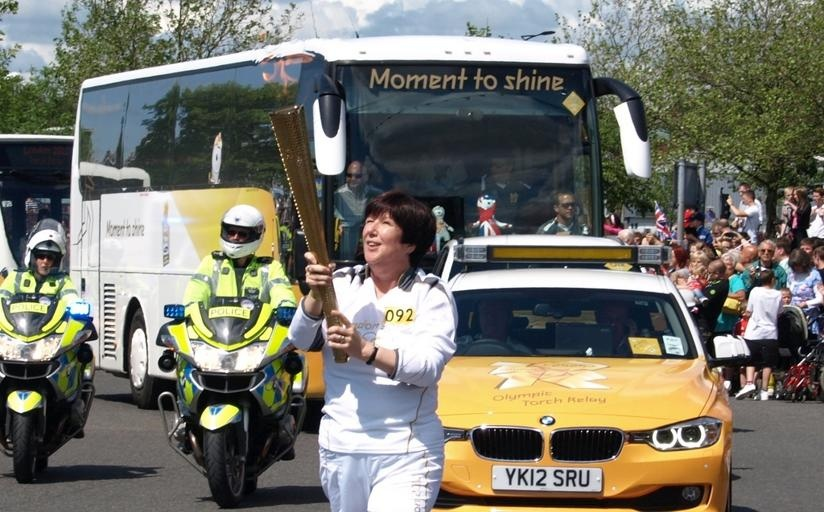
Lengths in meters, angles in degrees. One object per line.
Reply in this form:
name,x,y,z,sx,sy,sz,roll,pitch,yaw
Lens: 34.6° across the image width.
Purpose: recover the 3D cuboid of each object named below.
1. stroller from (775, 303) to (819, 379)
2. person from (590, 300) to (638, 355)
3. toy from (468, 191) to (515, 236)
stroller,6.633,1.469,22.837,0.564,1.296,0.578,1,-1,9
person,2.416,0.842,15.571,0.374,0.641,0.825,-1,-1,-2
toy,1.177,-0.624,20.086,0.334,0.747,1.371,0,-1,-10
